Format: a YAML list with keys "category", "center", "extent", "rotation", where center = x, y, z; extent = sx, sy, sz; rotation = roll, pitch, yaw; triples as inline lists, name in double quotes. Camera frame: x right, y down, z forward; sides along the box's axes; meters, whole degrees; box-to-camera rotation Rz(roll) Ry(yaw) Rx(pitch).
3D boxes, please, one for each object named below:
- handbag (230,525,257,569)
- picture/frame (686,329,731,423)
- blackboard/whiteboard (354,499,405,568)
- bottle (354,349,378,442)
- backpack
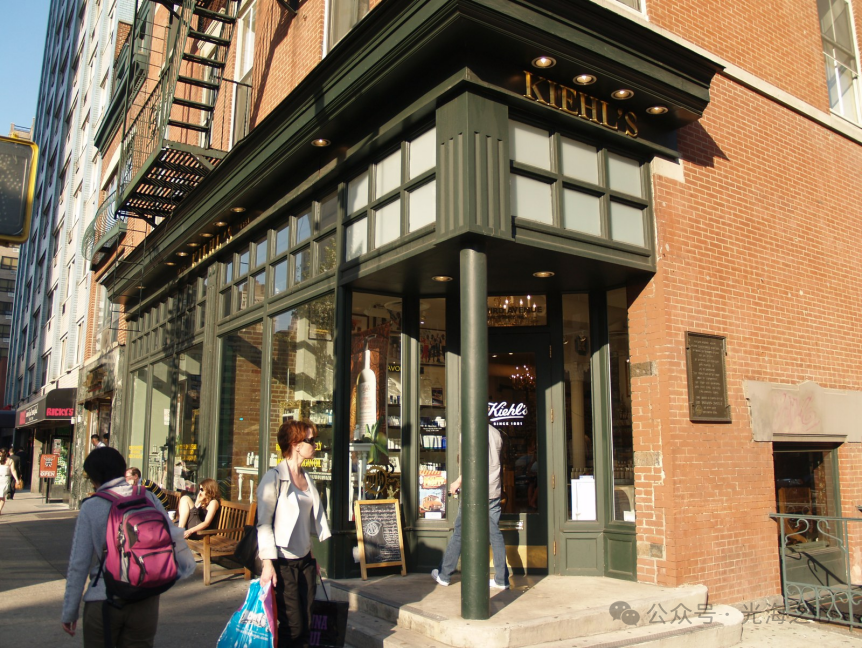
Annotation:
- category: "handbag"
  center: [-1.775, 2.154, 7.110]
  extent: [0.212, 0.409, 0.398]
  rotation: [4, -15, -14]
- category: "picture/frame"
  center: [3.826, 0.753, 10.262]
  extent: [0.901, 1.198, 0.030]
  rotation: [8, -13, -33]
- category: "blackboard/whiteboard"
  center: [-0.826, 2.915, 10.602]
  extent: [0.749, 0.944, 0.615]
  rotation: [7, -6, -25]
- category: "bottle"
  center: [-0.954, 1.047, 11.079]
  extent: [0.325, 1.358, 0.186]
  rotation: [2, -14, -6]
- category: "backpack"
  center: [-2.364, 1.763, 5.918]
  extent: [0.688, 0.898, 0.367]
  rotation: [3, -14, -10]
